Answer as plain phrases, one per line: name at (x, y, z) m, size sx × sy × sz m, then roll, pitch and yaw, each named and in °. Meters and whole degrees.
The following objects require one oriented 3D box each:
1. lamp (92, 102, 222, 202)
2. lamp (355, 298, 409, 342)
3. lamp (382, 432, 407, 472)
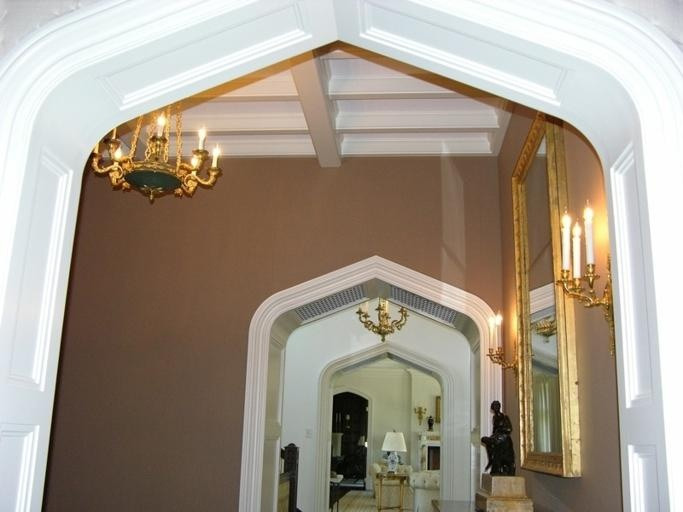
lamp at (-1.462, -0.862, 4.598) m, size 0.642 × 0.977 × 0.702 m, roll 14°, pitch -24°, yaw -5°
lamp at (0.559, 0.891, 7.513) m, size 0.707 × 0.676 × 0.676 m, roll -5°, pitch -5°, yaw 39°
lamp at (1.360, 4.967, 14.208) m, size 0.739 × 1.362 × 0.811 m, roll 0°, pitch -11°, yaw 1°
